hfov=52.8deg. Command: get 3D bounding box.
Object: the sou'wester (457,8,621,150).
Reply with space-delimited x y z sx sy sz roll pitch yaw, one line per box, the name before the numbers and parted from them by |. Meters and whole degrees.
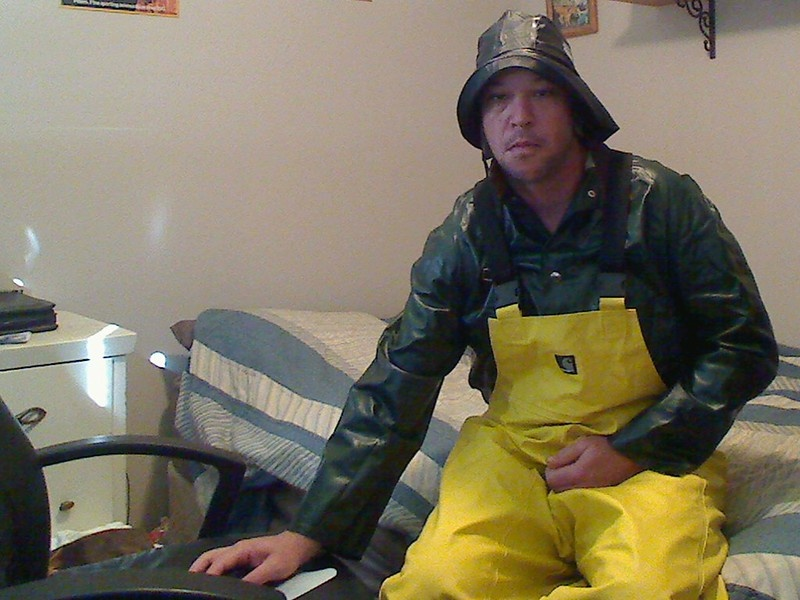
sou'wester | 0.316 -0.574 1.979 0.310 0.216 0.403 1 16 -11
